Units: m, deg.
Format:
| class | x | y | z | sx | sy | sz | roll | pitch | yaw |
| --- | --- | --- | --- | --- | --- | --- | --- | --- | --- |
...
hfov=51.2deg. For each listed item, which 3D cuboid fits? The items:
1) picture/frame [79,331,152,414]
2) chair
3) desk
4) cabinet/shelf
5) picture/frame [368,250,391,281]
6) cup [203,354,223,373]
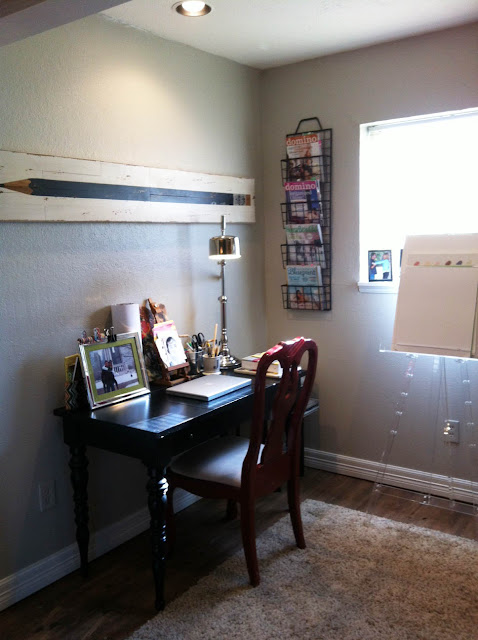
| class | x | y | z | sx | sy | sz | roll | pitch | yaw |
| --- | --- | --- | --- | --- | --- | --- | --- | --- | --- |
| picture/frame | -0.490 | 0.199 | 1.982 | 0.021 | 0.272 | 0.308 | -10 | 1 | 35 |
| chair | -0.011 | 0.534 | 2.075 | 0.516 | 0.896 | 0.496 | 4 | 6 | 41 |
| desk | -0.301 | 0.651 | 1.991 | 0.532 | 0.693 | 0.622 | 1 | 4 | 34 |
| cabinet/shelf | 0.378 | -0.615 | 2.970 | 0.385 | 1.136 | 0.165 | 2 | 4 | 37 |
| picture/frame | 0.785 | -0.305 | 2.777 | 0.171 | 0.225 | 0.010 | 2 | 3 | 29 |
| cup | -0.124 | 0.213 | 2.423 | 0.086 | 0.068 | 0.070 | 1 | 5 | 13 |
